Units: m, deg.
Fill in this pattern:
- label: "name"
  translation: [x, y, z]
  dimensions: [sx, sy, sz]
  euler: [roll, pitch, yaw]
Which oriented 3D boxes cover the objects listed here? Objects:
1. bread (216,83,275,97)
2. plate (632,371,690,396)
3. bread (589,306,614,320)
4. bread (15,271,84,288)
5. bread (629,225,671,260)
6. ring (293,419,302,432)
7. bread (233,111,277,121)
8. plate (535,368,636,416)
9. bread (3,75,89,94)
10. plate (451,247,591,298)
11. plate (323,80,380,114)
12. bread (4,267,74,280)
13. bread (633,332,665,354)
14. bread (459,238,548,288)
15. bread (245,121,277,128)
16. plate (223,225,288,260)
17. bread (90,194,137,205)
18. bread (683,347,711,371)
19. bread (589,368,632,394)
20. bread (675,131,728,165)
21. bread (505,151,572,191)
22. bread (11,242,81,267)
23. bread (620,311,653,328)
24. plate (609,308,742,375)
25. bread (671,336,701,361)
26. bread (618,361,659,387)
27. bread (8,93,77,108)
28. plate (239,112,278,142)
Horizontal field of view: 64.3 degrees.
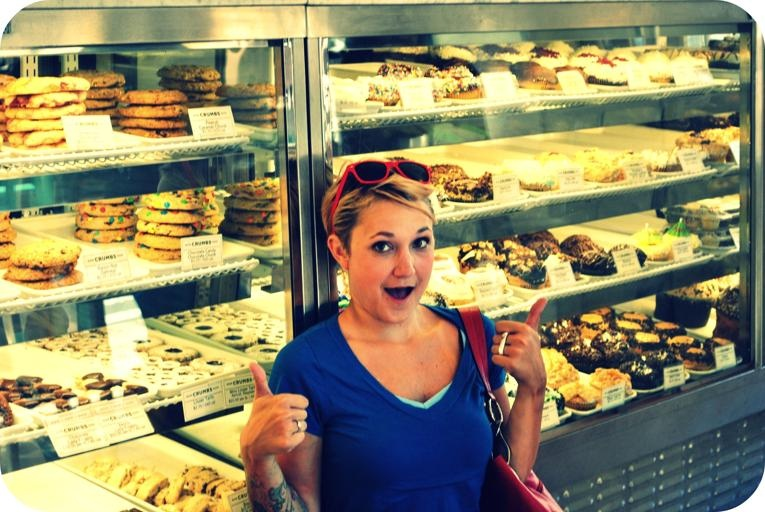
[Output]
- label: "bread"
  translation: [-0.522, -0.641, 2.349]
  dimensions: [0.268, 0.064, 0.014]
  euler: [2, 17, 31]
- label: "plate"
  translation: [1.490, 0.683, 3.314]
  dimensions: [0.206, 0.025, 0.140]
  euler: [-5, 7, -13]
- label: "bread"
  translation: [1.282, 0.334, 3.573]
  dimensions: [0.121, 0.026, 0.120]
  euler: [12, 23, 34]
- label: "bread"
  translation: [-1.197, 0.096, 2.224]
  dimensions: [0.098, 0.021, 0.130]
  euler: [4, 7, 27]
- label: "bread"
  translation: [1.555, -0.077, 3.525]
  dimensions: [0.200, 0.112, 0.191]
  euler: [10, 26, 27]
- label: "ring"
  translation: [-0.262, 0.520, 1.867]
  dimensions: [0.015, 0.033, 0.026]
  euler: [-14, 25, -35]
- label: "bread"
  translation: [-0.495, -0.543, 2.353]
  dimensions: [0.085, 0.019, 0.081]
  euler: [3, 7, 22]
- label: "plate"
  translation: [1.117, 0.712, 3.167]
  dimensions: [0.374, 0.057, 0.254]
  euler: [-13, 17, -35]
- label: "bread"
  translation: [-1.248, -0.633, 2.245]
  dimensions: [0.290, 0.071, 0.101]
  euler: [-8, 13, -8]
- label: "plate"
  translation: [0.723, 0.048, 3.197]
  dimensions: [0.353, 0.129, 0.361]
  euler: [16, 19, 39]
- label: "plate"
  translation: [-0.133, -0.647, 2.523]
  dimensions: [0.217, 0.073, 0.169]
  euler: [9, 16, 41]
- label: "bread"
  translation: [-1.274, 0.068, 2.227]
  dimensions: [0.101, 0.024, 0.104]
  euler: [4, 7, 14]
- label: "bread"
  translation: [1.537, 0.502, 3.514]
  dimensions: [0.120, 0.033, 0.117]
  euler: [8, 18, 27]
- label: "bread"
  translation: [0.645, 0.028, 3.184]
  dimensions: [0.276, 0.110, 0.359]
  euler: [-15, 25, -35]
- label: "bread"
  translation: [-0.467, -0.506, 2.341]
  dimensions: [0.145, 0.036, 0.029]
  euler: [6, 19, 42]
- label: "plate"
  translation: [-0.523, -0.075, 2.488]
  dimensions: [0.188, 0.039, 0.184]
  euler: [-15, 24, -43]
- label: "bread"
  translation: [-1.131, -0.233, 2.568]
  dimensions: [0.117, 0.027, 0.109]
  euler: [-3, 4, -13]
- label: "bread"
  translation: [1.787, 0.592, 3.463]
  dimensions: [0.136, 0.071, 0.132]
  euler: [4, 16, 22]
- label: "bread"
  translation: [1.207, 0.654, 3.230]
  dimensions: [0.161, 0.066, 0.165]
  euler: [-2, 7, 3]
- label: "bread"
  translation: [1.894, -0.650, 3.606]
  dimensions: [0.192, 0.113, 0.227]
  euler: [5, 20, 7]
- label: "bread"
  translation: [0.806, -0.431, 3.132]
  dimensions: [0.260, 0.079, 0.264]
  euler: [12, 25, 28]
- label: "bread"
  translation: [-1.246, -0.007, 2.253]
  dimensions: [0.144, 0.034, 0.136]
  euler: [-3, 16, 1]
- label: "bread"
  translation: [1.549, 0.383, 3.700]
  dimensions: [0.124, 0.049, 0.116]
  euler: [0, 13, -9]
- label: "plate"
  translation: [1.685, 0.479, 3.596]
  dimensions: [0.346, 0.074, 0.542]
  euler: [-16, 30, -37]
- label: "bread"
  translation: [1.750, 0.525, 3.533]
  dimensions: [0.127, 0.044, 0.145]
  euler: [-12, 25, -35]
- label: "bread"
  translation: [1.416, 0.644, 3.316]
  dimensions: [0.153, 0.089, 0.174]
  euler: [5, 7, 4]
- label: "bread"
  translation: [-1.248, -0.571, 2.235]
  dimensions: [0.128, 0.028, 0.126]
  euler: [2, 7, 35]
- label: "plate"
  translation: [-0.468, -0.502, 2.340]
  dimensions: [0.139, 0.118, 0.048]
  euler: [0, 0, 26]
